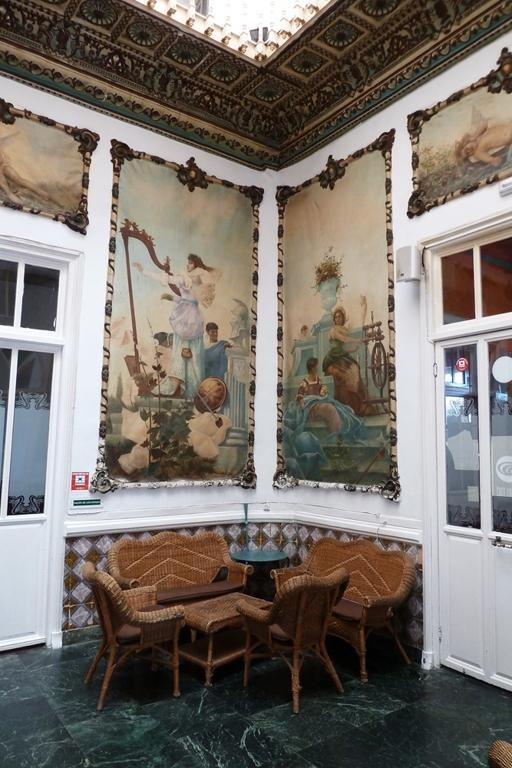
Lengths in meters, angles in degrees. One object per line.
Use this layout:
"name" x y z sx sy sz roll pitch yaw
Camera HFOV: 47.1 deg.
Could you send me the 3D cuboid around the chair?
"chair" -0.235 1.899 4.537 1.468 0.730 1.480 -7 -22 19
